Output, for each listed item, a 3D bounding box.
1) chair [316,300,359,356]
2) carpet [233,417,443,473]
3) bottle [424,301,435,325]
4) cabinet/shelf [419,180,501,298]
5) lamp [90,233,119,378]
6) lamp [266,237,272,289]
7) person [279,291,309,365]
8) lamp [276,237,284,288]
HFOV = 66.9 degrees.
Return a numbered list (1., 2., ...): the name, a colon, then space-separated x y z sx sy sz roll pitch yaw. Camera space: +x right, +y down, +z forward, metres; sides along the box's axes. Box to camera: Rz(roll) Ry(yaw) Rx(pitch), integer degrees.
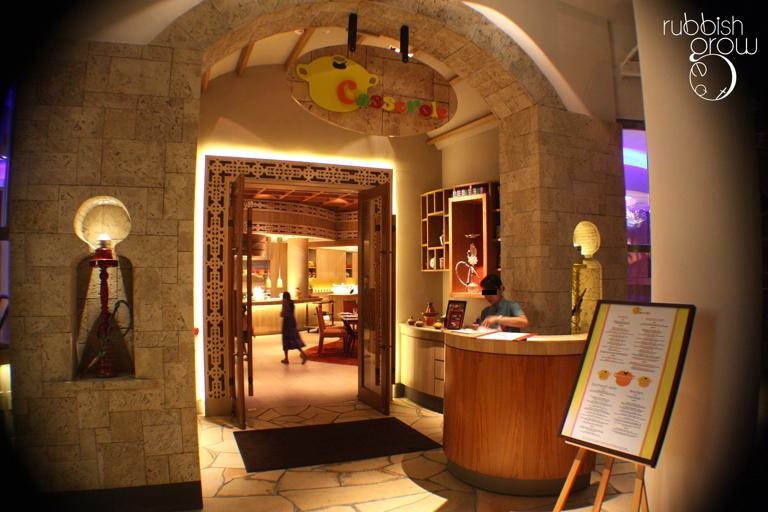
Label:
1. chair: -0.982 1.548 12.585 1.137 1.434 1.037 0 -1 1
2. carpet: -0.624 2.189 6.855 2.152 0.070 1.256 0 2 -17
3. bottle: 0.649 0.831 8.382 0.139 0.315 0.279 0 2 4
4. cabinet/shelf: 1.101 -0.266 8.302 0.479 1.496 1.788 4 -5 -31
5. lamp: -2.582 0.470 5.370 0.200 1.267 0.430 -1 2 -26
6. lamp: -3.278 0.162 16.662 0.149 1.161 0.246 0 2 -11
7. person: -1.774 1.372 11.480 0.492 1.430 1.455 0 2 -8
8. lamp: -2.960 0.181 16.793 0.234 1.379 0.277 0 2 -18
